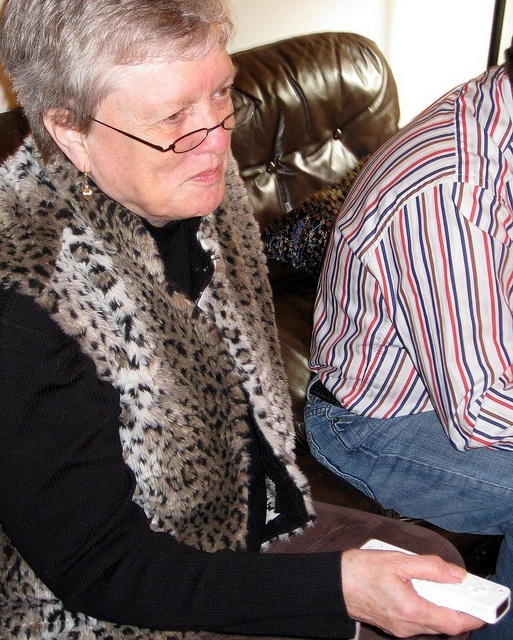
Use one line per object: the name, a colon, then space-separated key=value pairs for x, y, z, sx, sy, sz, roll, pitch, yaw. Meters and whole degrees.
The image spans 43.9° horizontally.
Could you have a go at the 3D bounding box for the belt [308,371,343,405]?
belt: x=0.154 y=0.141 z=1.322 sx=0.061 sy=0.056 sz=0.017 roll=28 pitch=74 yaw=19

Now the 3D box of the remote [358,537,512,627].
remote: x=0.244 y=0.323 z=0.761 sx=0.111 sy=0.041 sz=0.058 roll=7 pitch=42 yaw=18

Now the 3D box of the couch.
couch: x=0.148 y=0.047 z=2.543 sx=1.481 sy=1.534 sz=2.130 roll=7 pitch=61 yaw=17
